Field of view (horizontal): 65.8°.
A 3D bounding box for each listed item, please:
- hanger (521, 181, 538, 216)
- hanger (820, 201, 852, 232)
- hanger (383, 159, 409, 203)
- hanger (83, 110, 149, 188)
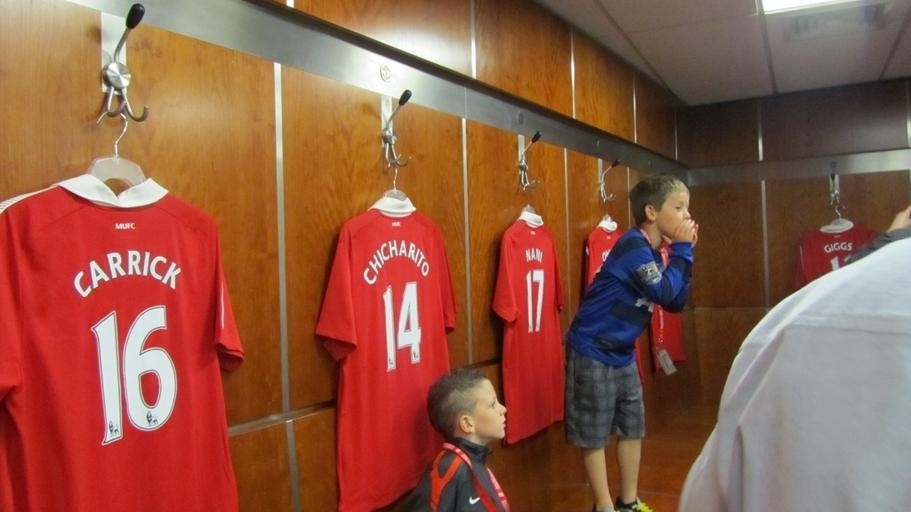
[{"bbox_3d":[0.459,-0.366,4.353,0.098,0.249,0.190,-1,-3,6],"label":"hanger"},{"bbox_3d":[3.296,-0.328,6.042,0.270,0.280,0.020,-8,-35,36],"label":"hanger"},{"bbox_3d":[-0.307,-0.384,3.564,0.140,0.223,0.097,1,-4,-35],"label":"hanger"},{"bbox_3d":[-1.381,-0.433,2.874,0.216,0.306,0.087,1,-3,-25],"label":"hanger"}]
